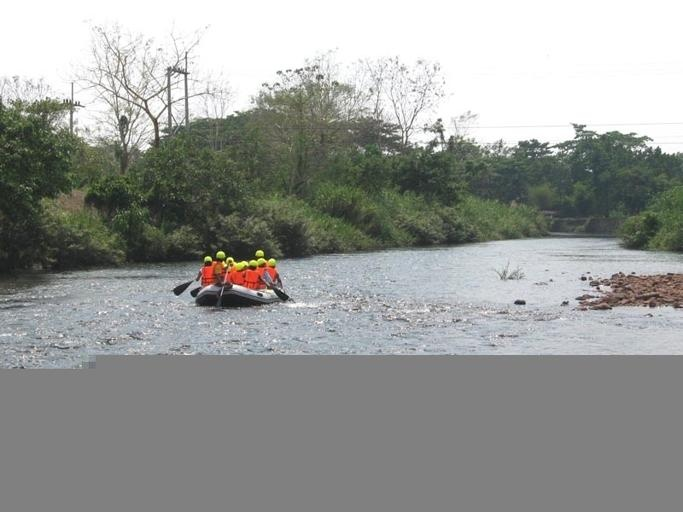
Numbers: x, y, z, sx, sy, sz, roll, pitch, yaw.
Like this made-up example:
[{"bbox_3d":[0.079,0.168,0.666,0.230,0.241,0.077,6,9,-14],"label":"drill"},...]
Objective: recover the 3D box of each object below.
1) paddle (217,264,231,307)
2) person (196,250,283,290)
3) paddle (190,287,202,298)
[{"bbox_3d":[-3.443,0.821,39.382,0.184,0.132,1.598,9,48,7],"label":"paddle"},{"bbox_3d":[-3.215,0.542,40.350,1.841,0.843,1.412,-1,-2,24],"label":"person"},{"bbox_3d":[-4.390,1.145,40.396,0.214,0.421,0.098,34,0,23],"label":"paddle"}]
